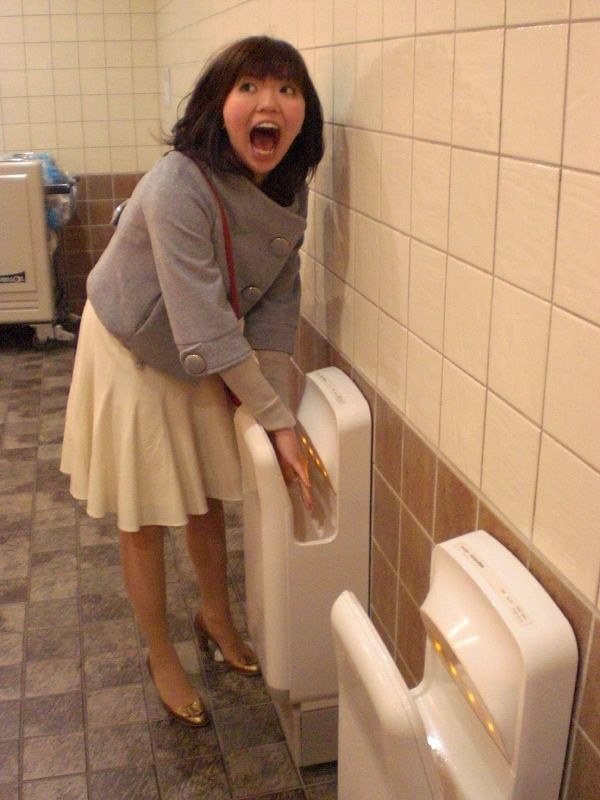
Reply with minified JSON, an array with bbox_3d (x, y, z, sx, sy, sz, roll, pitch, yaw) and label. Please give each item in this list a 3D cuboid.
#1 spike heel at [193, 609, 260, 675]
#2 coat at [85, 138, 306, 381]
[{"bbox_3d":[-0.207,0.660,1.719,0.250,0.123,0.086,5,10,43],"label":"spike heel"},{"bbox_3d":[-0.178,-0.322,1.304,0.382,0.485,0.436,36,38,16],"label":"coat"}]
